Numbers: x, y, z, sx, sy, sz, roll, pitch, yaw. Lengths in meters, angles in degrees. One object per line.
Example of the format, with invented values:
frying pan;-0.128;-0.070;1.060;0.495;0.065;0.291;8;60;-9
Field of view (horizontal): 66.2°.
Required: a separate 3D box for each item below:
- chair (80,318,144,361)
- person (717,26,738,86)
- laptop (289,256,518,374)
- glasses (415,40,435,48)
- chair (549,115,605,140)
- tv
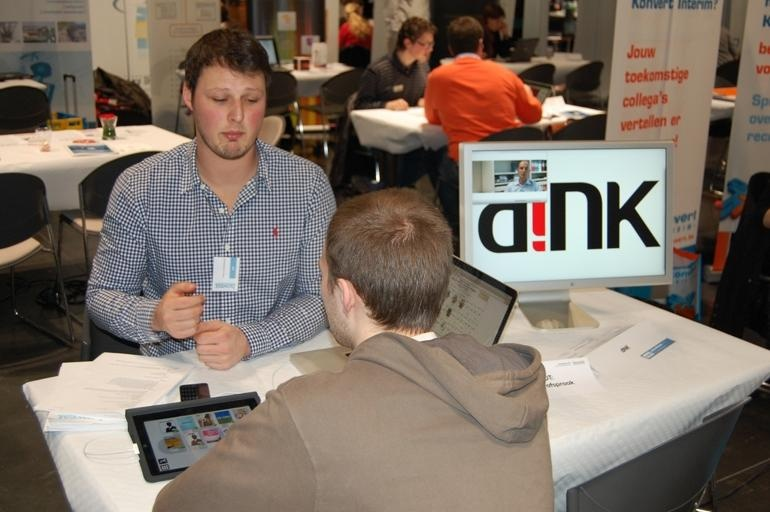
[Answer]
chair;-0.998;0.267;2.159;0.152;0.214;0.162;-9;23;-33
person;3.839;-2.247;6.568;0.207;0.653;1.606;7;18;28
laptop;0.105;0.171;1.853;0.437;0.307;0.495;-3;14;-24
glasses;0.361;-2.029;5.596;0.138;0.049;0.144;-6;12;-41
chair;1.421;-0.930;4.241;0.457;0.170;0.139;-9;17;-23
tv;0.638;-0.096;2.109;0.643;0.570;0.207;-2;6;-9
